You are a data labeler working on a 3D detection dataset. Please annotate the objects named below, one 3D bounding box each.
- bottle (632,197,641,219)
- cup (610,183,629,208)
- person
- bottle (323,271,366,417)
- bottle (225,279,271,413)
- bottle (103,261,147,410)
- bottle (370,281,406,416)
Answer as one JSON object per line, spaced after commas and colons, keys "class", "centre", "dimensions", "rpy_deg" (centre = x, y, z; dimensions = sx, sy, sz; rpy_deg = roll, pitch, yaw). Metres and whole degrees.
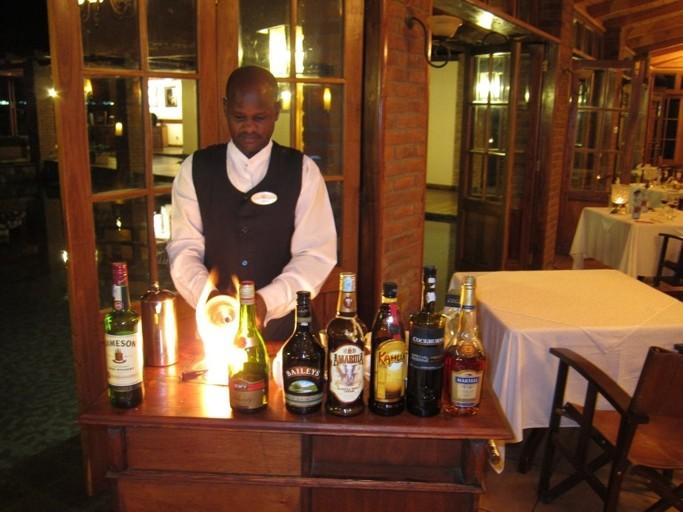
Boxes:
{"class": "bottle", "centre": [2.913, -0.462, 5.688], "dimensions": [0.074, 0.194, 0.144], "rpy_deg": [9, 13, 23]}
{"class": "cup", "centre": [2.939, -0.638, 6.096], "dimensions": [0.170, 0.216, 0.292], "rpy_deg": [9, 13, 24]}
{"class": "person", "centre": [-0.359, -0.186, 2.343], "dimensions": [0.720, 1.113, 0.579], "rpy_deg": [2, 12, -7]}
{"class": "bottle", "centre": [0.020, 0.259, 1.793], "dimensions": [0.137, 0.462, 0.174], "rpy_deg": [3, 12, 0]}
{"class": "bottle", "centre": [-0.285, 0.314, 1.797], "dimensions": [0.121, 0.341, 0.078], "rpy_deg": [1, 13, -11]}
{"class": "bottle", "centre": [-0.696, 0.239, 1.854], "dimensions": [0.117, 0.456, 0.189], "rpy_deg": [-1, 13, -20]}
{"class": "bottle", "centre": [0.155, 0.276, 1.789], "dimensions": [0.121, 0.426, 0.115], "rpy_deg": [3, 12, -1]}
